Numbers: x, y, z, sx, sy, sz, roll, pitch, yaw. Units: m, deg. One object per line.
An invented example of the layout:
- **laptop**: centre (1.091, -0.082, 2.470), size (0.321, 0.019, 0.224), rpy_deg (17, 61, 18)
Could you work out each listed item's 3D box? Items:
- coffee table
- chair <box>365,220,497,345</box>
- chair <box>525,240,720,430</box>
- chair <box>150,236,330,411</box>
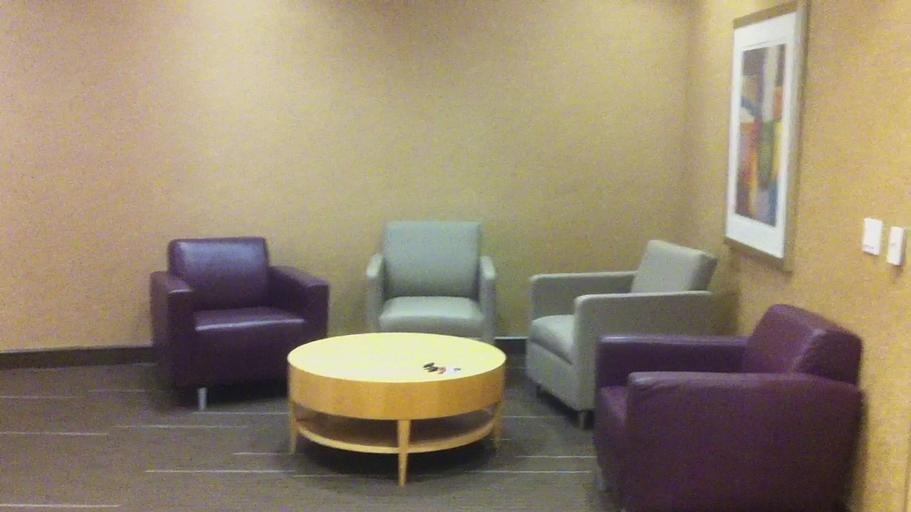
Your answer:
- **coffee table**: centre (-0.421, 1.111, 6.078), size (1.591, 0.759, 1.045), rpy_deg (-2, 12, -7)
- **chair**: centre (-0.204, 0.193, 7.319), size (1.099, 0.915, 0.938), rpy_deg (0, 12, -1)
- **chair**: centre (1.363, 0.581, 6.888), size (1.672, 1.498, 1.471), rpy_deg (0, 2, -13)
- **chair**: centre (-1.891, 0.511, 7.108), size (1.422, 1.190, 1.251), rpy_deg (-2, 11, -25)
